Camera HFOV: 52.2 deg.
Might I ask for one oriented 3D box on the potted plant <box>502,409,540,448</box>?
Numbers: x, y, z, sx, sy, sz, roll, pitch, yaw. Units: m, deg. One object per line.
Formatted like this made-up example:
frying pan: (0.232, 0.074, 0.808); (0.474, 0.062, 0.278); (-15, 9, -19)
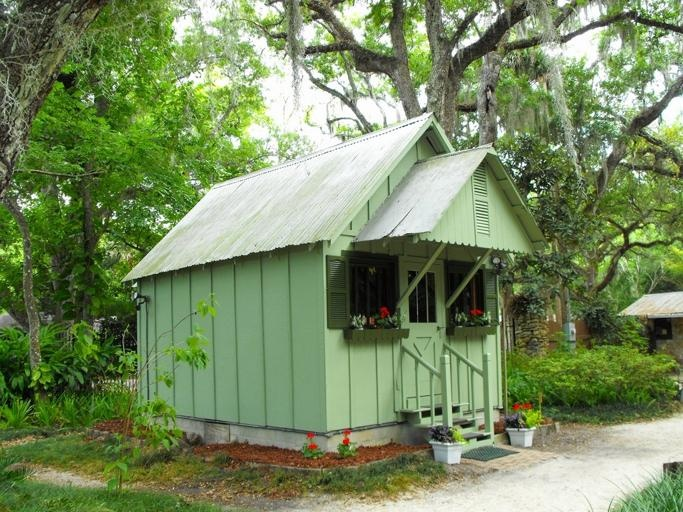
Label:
potted plant: (3.994, 3.824, 15.482); (0.654, 0.862, 0.739); (-2, -4, 38)

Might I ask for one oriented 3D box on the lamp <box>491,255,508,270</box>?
lamp: (3.743, 0.177, 16.722); (0.255, 0.436, 0.123); (-1, -9, -15)

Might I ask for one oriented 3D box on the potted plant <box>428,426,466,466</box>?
potted plant: (2.128, 3.779, 13.795); (0.611, 0.740, 0.449); (3, -3, -41)

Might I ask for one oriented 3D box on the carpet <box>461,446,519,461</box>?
carpet: (3.042, 4.079, 14.396); (1.249, 0.253, 0.535); (8, -13, -35)
